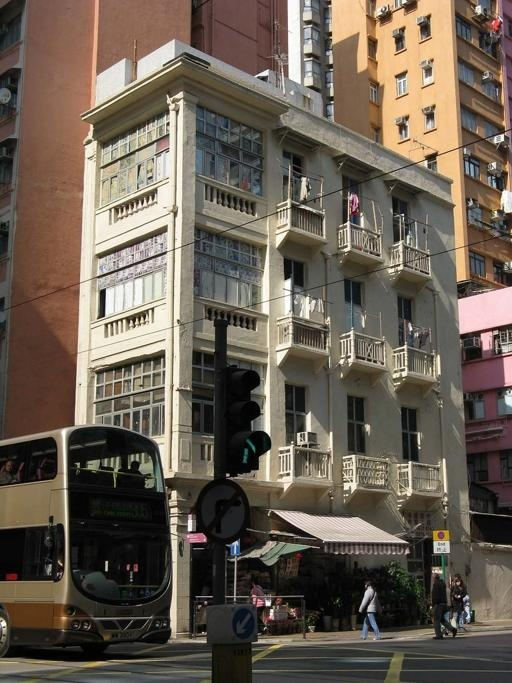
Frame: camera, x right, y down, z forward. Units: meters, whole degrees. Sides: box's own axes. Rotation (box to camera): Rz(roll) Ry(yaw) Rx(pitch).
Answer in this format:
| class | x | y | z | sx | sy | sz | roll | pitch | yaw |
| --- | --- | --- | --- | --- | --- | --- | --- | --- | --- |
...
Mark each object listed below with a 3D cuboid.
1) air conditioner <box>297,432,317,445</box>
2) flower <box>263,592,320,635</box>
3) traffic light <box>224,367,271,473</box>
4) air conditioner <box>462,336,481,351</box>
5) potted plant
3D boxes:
| class | x | y | z | sx | sy | sz | roll | pitch | yaw |
| --- | --- | --- | --- | --- | --- | --- | --- | --- | --- |
| air conditioner | 1.595 | 2.918 | 26.131 | 0.714 | 0.452 | 0.481 | 4 | -16 | -19 |
| flower | 0.824 | 7.131 | 22.869 | 1.134 | 0.552 | 1.566 | -9 | -20 | 37 |
| traffic light | -0.059 | 0.497 | 5.799 | 0.289 | 0.796 | 0.440 | -2 | -15 | 1 |
| air conditioner | 11.303 | 0.250 | 45.378 | 0.739 | 1.099 | 0.739 | 10 | -15 | -43 |
| potted plant | 3.855 | 7.899 | 26.575 | 2.308 | 1.385 | 3.223 | 4 | -18 | -6 |
